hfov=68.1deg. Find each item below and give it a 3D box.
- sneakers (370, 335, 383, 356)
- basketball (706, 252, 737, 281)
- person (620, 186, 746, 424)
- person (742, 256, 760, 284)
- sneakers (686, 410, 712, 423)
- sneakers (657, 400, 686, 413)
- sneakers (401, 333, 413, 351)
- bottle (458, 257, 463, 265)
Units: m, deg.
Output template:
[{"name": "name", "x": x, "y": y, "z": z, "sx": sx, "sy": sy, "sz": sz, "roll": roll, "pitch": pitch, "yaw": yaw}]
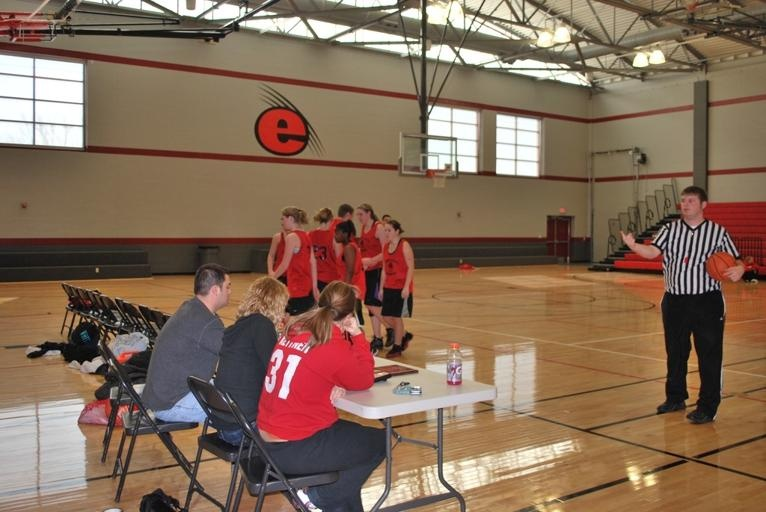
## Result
[{"name": "sneakers", "x": -0.094, "y": 1.313, "z": 8.254, "sx": 0.106, "sy": 0.222, "sz": 0.321, "roll": -3, "pitch": -10, "yaw": 22}, {"name": "basketball", "x": 3.277, "y": 0.105, "z": 5.546, "sx": 0.248, "sy": 0.282, "sz": 0.180, "roll": 2, "pitch": 6, "yaw": 44}, {"name": "person", "x": 3.076, "y": 0.481, "z": 5.731, "sx": 0.791, "sy": 2.330, "sz": 0.448, "roll": 1, "pitch": 5, "yaw": 31}, {"name": "person", "x": 10.427, "y": 0.428, "z": 16.226, "sx": 0.308, "sy": 0.780, "sz": 0.554, "roll": 9, "pitch": 1, "yaw": -8}, {"name": "sneakers", "x": 3.103, "y": 1.592, "z": 5.615, "sx": 0.274, "sy": 0.106, "sz": 0.105, "roll": 8, "pitch": -11, "yaw": -29}, {"name": "sneakers", "x": 2.990, "y": 1.578, "z": 5.980, "sx": 0.338, "sy": 0.131, "sz": 0.118, "roll": 1, "pitch": -6, "yaw": -15}, {"name": "sneakers", "x": 0.330, "y": 1.205, "z": 8.088, "sx": 0.122, "sy": 0.277, "sz": 0.101, "roll": 10, "pitch": 13, "yaw": -18}, {"name": "bottle", "x": 3.004, "y": 0.198, "z": 22.102, "sx": 0.204, "sy": 0.274, "sz": 0.443, "roll": -1, "pitch": 4, "yaw": 7}]
